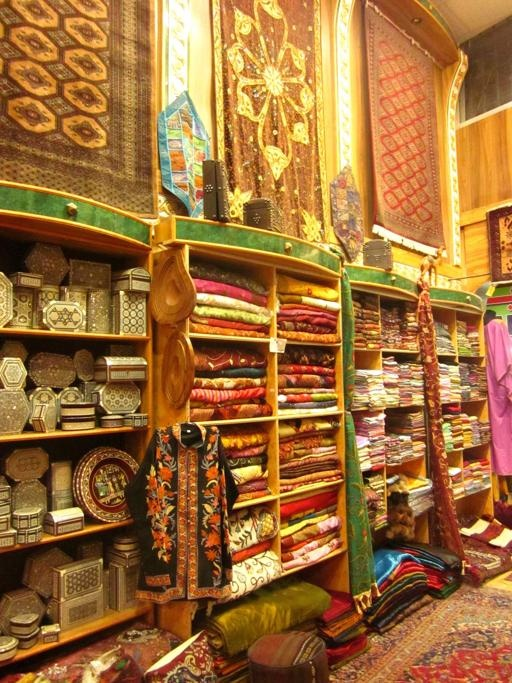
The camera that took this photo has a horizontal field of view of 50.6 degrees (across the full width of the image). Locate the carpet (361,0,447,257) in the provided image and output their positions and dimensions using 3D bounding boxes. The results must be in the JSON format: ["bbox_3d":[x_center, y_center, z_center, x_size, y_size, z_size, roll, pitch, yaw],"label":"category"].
[{"bbox_3d":[1.322,-1.810,4.730,0.284,1.980,1.275,-14,-13,40],"label":"carpet"}]

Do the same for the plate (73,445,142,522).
[{"bbox_3d":[-0.537,0.549,2.097,0.065,0.275,0.276,-10,34,43],"label":"plate"}]

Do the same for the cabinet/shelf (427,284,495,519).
[{"bbox_3d":[1.875,0.580,4.658,0.491,1.964,1.164,-9,-11,19],"label":"cabinet/shelf"}]

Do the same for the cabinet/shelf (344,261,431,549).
[{"bbox_3d":[0.946,0.494,3.674,0.491,1.867,1.211,-10,-11,25],"label":"cabinet/shelf"}]

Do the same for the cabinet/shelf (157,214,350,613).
[{"bbox_3d":[0.064,0.389,2.594,0.428,1.799,1.281,-13,-13,37],"label":"cabinet/shelf"}]
